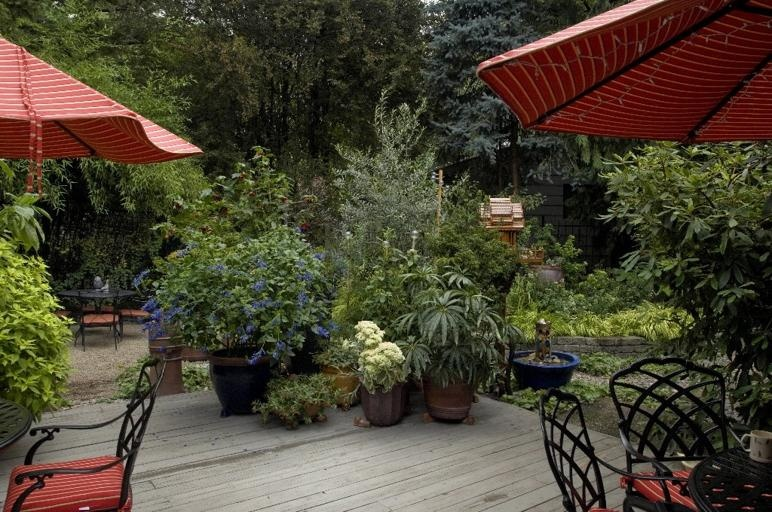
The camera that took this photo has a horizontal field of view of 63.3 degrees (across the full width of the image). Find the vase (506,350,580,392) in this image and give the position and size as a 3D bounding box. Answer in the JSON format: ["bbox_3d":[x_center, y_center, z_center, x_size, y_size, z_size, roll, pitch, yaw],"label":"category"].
[{"bbox_3d":[1.843,1.291,7.246,0.844,0.291,0.842,7,-19,-4],"label":"vase"}]

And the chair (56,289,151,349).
[{"bbox_3d":[-4.593,1.010,9.962,1.136,0.734,1.130,1,16,-24],"label":"chair"}]

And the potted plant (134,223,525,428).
[{"bbox_3d":[-1.518,0.645,6.770,2.075,2.066,1.928,2,-8,-21],"label":"potted plant"}]
